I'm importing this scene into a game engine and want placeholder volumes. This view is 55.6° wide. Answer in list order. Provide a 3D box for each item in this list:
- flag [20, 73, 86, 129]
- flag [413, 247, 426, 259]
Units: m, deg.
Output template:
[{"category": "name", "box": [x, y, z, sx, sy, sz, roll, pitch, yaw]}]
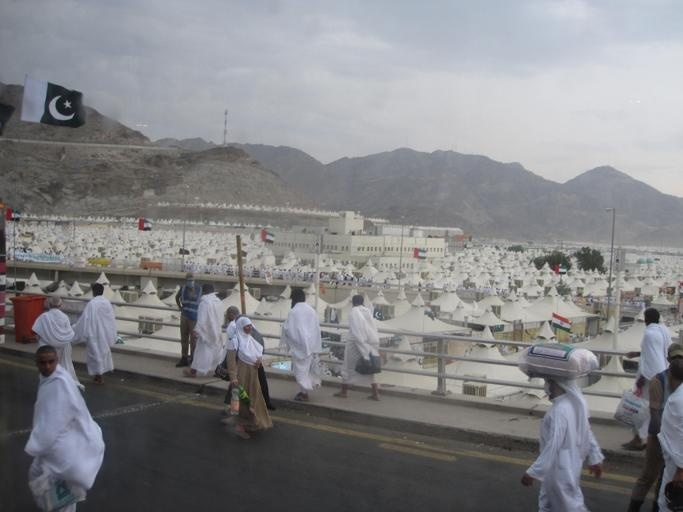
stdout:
[{"category": "flag", "box": [-6.211, -3.314, 14.102, 1.309, 0.968, 0.156, 8, -1, -9]}, {"category": "flag", "box": [12.411, -0.462, 104.241, 1.847, 1.925, 3.226, 0, 7, -29]}]
